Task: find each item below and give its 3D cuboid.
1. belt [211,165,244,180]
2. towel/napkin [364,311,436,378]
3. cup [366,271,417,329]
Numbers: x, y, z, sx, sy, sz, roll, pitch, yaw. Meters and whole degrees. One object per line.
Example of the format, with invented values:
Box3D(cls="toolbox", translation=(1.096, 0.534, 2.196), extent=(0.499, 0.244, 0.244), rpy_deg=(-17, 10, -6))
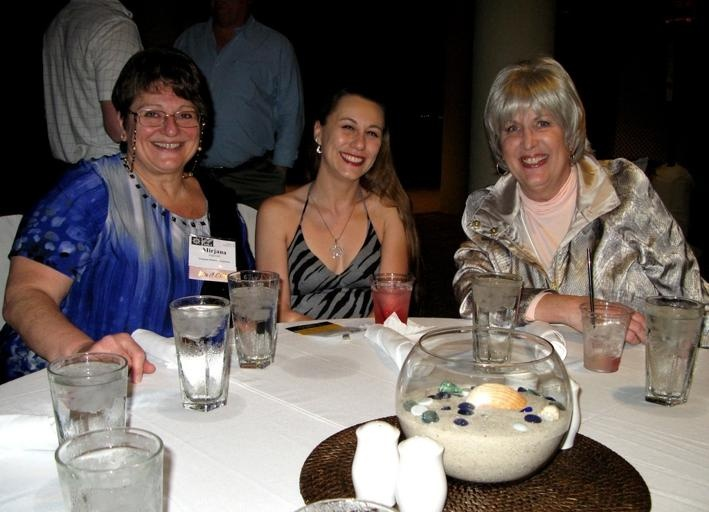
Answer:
Box3D(cls="belt", translation=(-0.892, -0.573, 3.785), extent=(0.142, 0.096, 0.138), rpy_deg=(-1, -9, 12))
Box3D(cls="towel/napkin", translation=(0.119, 0.245, 1.562), extent=(0.142, 0.047, 0.137), rpy_deg=(-8, 16, -36))
Box3D(cls="cup", translation=(0.132, 0.136, 1.758), extent=(0.162, 0.163, 0.159), rpy_deg=(-1, -4, 0))
